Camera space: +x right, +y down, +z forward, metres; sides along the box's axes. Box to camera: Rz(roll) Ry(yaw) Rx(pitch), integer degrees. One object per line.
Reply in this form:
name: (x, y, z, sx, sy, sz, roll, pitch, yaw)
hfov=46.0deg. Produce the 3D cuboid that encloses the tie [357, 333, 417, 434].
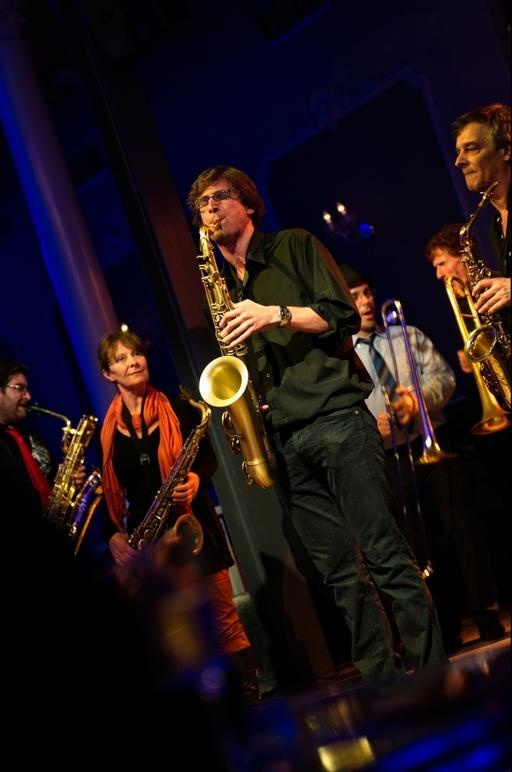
tie: (0.574, -0.012, 2.646, 0.221, 0.434, 0.202, -3, 5, 4)

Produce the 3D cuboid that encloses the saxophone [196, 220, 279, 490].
saxophone: (-0.077, -0.093, 2.283, 0.338, 0.980, 0.348, -1, 4, -1)

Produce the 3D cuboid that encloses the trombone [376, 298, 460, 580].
trombone: (0.681, -0.078, 2.679, 0.199, 0.830, 0.213, 8, -40, -15)

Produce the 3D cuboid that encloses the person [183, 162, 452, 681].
person: (0.202, 0.045, 1.957, 0.462, 1.798, 0.776, -23, -1, -2)

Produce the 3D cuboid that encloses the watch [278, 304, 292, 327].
watch: (0.085, -0.224, 1.838, 0.035, 0.056, 0.052, -2, 1, -22)

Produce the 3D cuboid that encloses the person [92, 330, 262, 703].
person: (-0.367, 0.647, 2.650, 0.472, 1.745, 0.499, -16, 14, -13)
